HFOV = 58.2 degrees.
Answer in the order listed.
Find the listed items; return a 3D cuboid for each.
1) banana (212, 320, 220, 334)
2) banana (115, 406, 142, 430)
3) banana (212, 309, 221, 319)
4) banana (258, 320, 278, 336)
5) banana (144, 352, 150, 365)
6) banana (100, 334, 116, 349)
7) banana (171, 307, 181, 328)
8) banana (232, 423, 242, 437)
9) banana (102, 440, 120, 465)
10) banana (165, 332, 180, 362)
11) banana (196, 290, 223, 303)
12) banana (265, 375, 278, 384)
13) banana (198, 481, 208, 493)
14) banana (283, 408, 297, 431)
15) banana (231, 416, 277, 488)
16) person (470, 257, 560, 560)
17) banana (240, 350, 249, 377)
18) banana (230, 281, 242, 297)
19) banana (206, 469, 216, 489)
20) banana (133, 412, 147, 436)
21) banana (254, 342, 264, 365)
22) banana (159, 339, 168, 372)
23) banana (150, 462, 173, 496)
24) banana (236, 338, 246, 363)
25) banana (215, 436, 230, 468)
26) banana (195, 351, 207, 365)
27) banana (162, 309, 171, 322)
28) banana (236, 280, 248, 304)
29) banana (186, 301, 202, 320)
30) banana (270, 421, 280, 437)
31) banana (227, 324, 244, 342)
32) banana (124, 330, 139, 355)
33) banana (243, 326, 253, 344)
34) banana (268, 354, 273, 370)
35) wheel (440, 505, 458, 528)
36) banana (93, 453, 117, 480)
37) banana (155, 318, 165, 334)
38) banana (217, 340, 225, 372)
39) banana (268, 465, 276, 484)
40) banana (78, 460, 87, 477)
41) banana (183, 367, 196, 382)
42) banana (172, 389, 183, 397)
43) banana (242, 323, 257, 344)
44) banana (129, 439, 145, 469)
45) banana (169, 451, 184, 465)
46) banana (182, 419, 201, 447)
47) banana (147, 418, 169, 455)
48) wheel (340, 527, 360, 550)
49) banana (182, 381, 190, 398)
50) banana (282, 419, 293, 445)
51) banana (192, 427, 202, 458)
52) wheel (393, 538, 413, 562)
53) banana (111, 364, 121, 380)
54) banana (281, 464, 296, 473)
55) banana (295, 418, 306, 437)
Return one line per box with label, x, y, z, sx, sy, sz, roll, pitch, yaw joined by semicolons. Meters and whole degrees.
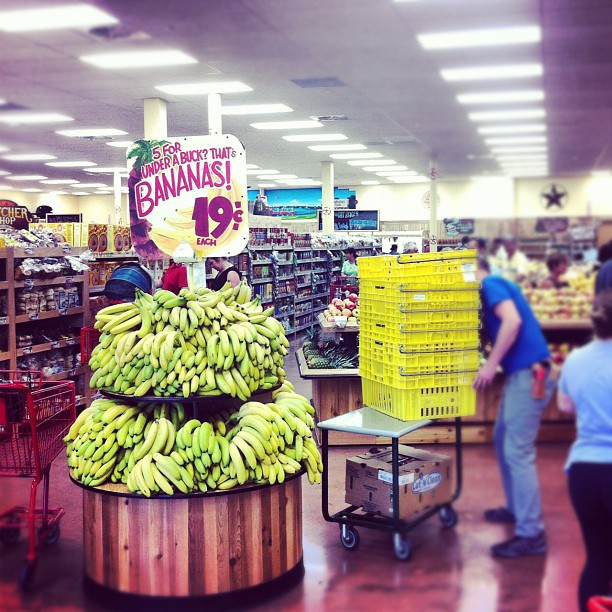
banana;-0.425;0.095;2.569;0.032;0.063;0.021;-5;-29;14
banana;-0.846;0.521;2.607;0.045;0.034;0.164;26;28;5
banana;-0.428;0.035;2.608;0.015;0.044;0.022;-22;-27;-7
banana;-0.201;0.092;2.778;0.048;0.034;0.145;-30;48;-14
banana;-0.714;0.237;2.445;0.013;0.043;0.024;14;8;2
banana;-0.956;0.168;2.637;0.020;0.075;0.024;39;-17;-16
banana;-0.601;0.048;2.536;0.037;0.032;0.109;31;22;-26
banana;-0.323;0.581;2.613;0.021;0.024;0.087;14;51;19
banana;-0.901;0.676;2.553;0.041;0.122;0.033;4;-29;47
banana;-0.605;0.181;2.451;0.047;0.126;0.105;-1;3;7
banana;-0.471;-0.051;2.736;0.144;0.050;0.037;-20;46;-20
banana;-0.181;0.374;2.776;0.041;0.039;0.100;0;3;32
banana;-0.454;0.790;2.395;0.023;0.039;0.013;-34;-40;13
banana;-0.081;0.562;2.729;0.036;0.130;0.043;-16;-10;-42
banana;-0.235;0.637;2.442;0.185;0.297;0.078;-12;-29;-2
person;1.106;0.558;2.863;0.413;1.502;0.899;-1;3;22
banana;-0.281;0.260;2.498;0.032;0.113;0.035;-9;8;-41
banana;-0.385;-0.097;2.995;0.025;0.089;0.032;31;-9;-23
banana;-0.424;0.763;2.417;0.022;0.074;0.025;-5;-15;-11
banana;-0.773;0.548;2.558;0.027;0.029;0.099;8;34;5
banana;-0.218;0.217;2.531;0.029;0.103;0.035;-12;-11;-20
banana;-0.634;0.217;2.394;0.030;0.121;0.041;-7;-12;15
banana;-0.635;0.748;2.365;0.056;0.116;0.144;-4;3;-40
banana;-0.298;0.207;2.488;0.046;0.097;0.066;-2;3;-8
banana;-0.381;0.660;2.494;0.058;0.113;0.138;-2;3;-16
banana;-0.484;0.229;2.458;0.029;0.019;0.054;15;40;-4
banana;-0.657;0.042;2.573;0.023;0.022;0.072;9;38;5
banana;-0.352;-0.081;3.047;0.036;0.131;0.048;14;0;-38
banana;-0.525;0.003;2.574;0.132;0.036;0.033;49;7;36
banana;-0.147;0.570;2.564;0.031;0.090;0.025;-7;-3;-45
banana;-0.323;0.120;2.524;0.035;0.050;0.144;1;20;-15
banana;-0.800;0.168;2.491;0.029;0.111;0.036;5;-39;26
banana;-0.267;0.134;2.513;0.030;0.090;0.024;-39;-39;25
banana;-0.176;0.271;2.690;0.022;0.062;0.019;8;8;-3
wheel;0.827;1.224;3.176;0.040;0.124;0.124;-27;19;51
banana;-0.918;0.734;2.531;0.047;0.032;0.139;6;52;50
banana;-0.687;0.092;2.560;0.023;0.081;0.026;30;-27;-21
banana;-0.380;0.231;2.417;0.040;0.114;0.025;-11;-17;43
banana;-0.152;0.757;2.453;0.025;0.076;0.021;2;-41;7
banana;-1.024;0.743;2.530;0.028;0.083;0.022;12;-17;21
banana;-0.512;0.298;2.399;0.022;0.021;0.074;17;48;23
banana;-0.578;0.387;2.442;0.042;0.022;0.040;0;-2;1
banana;-0.264;0.123;2.553;0.051;0.096;0.025;-7;-38;-24
banana;-0.776;0.680;2.508;0.049;0.142;0.043;19;-10;-10
banana;-0.564;0.662;2.392;0.033;0.025;0.070;-32;42;-13
banana;-0.534;0.575;2.496;0.032;0.068;0.144;-44;13;20
banana;-0.662;0.594;2.477;0.048;0.172;0.058;22;-28;-3
wheel;0.244;1.259;3.005;0.105;0.121;0.089;-2;3;-1
banana;-0.521;0.365;2.379;0.032;0.063;0.022;0;-5;34
banana;-0.089;0.598;2.628;0.043;0.122;0.033;0;3;-40
banana;-0.479;0.599;2.433;0.047;0.141;0.035;24;-50;-29
wheel;0.501;1.258;2.809;0.104;0.101;0.025;14;4;23
banana;-0.895;0.309;2.564;0.034;0.068;0.023;19;3;14
banana;-0.083;0.763;2.571;0.087;0.023;0.028;28;-27;0
banana;-0.032;0.601;2.697;0.061;0.088;0.036;0;3;38
